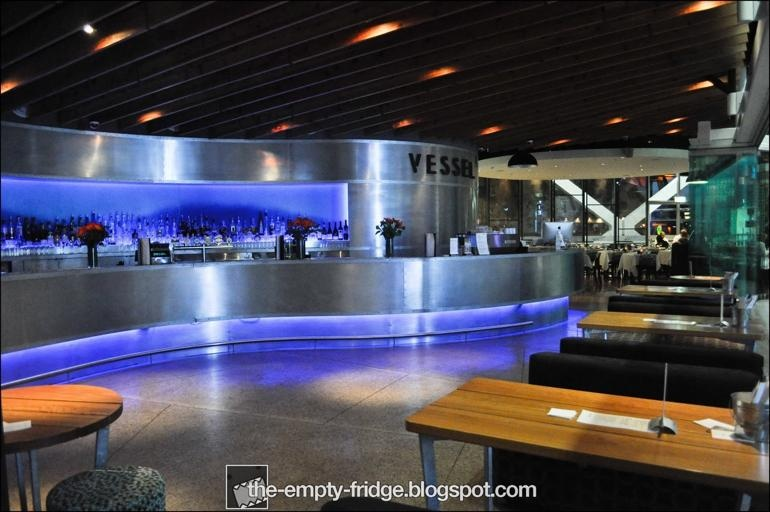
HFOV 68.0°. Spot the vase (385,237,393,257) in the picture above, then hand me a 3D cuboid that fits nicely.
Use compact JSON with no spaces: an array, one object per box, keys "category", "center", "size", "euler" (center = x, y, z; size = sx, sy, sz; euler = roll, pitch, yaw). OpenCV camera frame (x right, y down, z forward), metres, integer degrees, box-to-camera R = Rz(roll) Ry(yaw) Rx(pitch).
[{"category":"vase","center":[0.053,-0.137,8.538],"size":[0.087,0.250,0.156],"euler":[-2,10,-9]}]

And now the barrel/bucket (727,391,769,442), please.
[{"category":"barrel/bucket","center":[2.222,0.988,3.594],"size":[0.282,0.261,0.283],"euler":[2,-1,0]}]

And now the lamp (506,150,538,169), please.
[{"category":"lamp","center":[3.457,-2.332,14.040],"size":[0.678,0.347,0.631],"euler":[1,-2,-33]}]

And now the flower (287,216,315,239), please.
[{"category":"flower","center":[-1.273,-0.421,8.528],"size":[0.462,0.269,0.463],"euler":[-1,3,32]}]

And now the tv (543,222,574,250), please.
[{"category":"tv","center":[3.319,-0.404,11.025],"size":[0.744,0.604,0.366],"euler":[5,15,26]}]

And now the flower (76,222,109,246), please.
[{"category":"flower","center":[-3.679,-0.275,7.169],"size":[0.304,0.281,0.277],"euler":[-5,10,-25]}]

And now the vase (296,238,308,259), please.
[{"category":"vase","center":[-1.217,-0.123,8.271],"size":[0.147,0.278,0.255],"euler":[0,9,5]}]

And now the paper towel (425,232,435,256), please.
[{"category":"paper towel","center":[0.668,-0.167,8.504],"size":[0.143,0.323,0.297],"euler":[-1,9,1]}]

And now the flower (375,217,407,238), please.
[{"category":"flower","center":[-0.004,-0.444,8.830],"size":[0.519,0.402,0.492],"euler":[5,8,28]}]
